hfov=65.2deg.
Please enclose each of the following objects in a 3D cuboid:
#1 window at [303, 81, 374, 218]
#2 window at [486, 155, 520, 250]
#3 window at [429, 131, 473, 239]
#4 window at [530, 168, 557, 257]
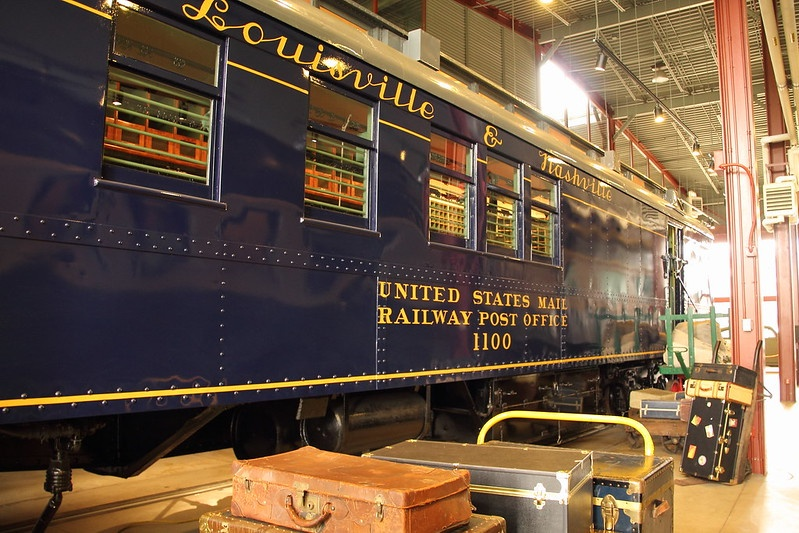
[{"bbox_3d":[-0.561,-0.999,5.406,0.087,1.294,1.078,0,-7,34],"label":"window"},{"bbox_3d":[1.131,-0.693,7.013,0.077,1.161,1.001,-3,-5,27],"label":"window"},{"bbox_3d":[0.495,-0.816,6.395,0.099,1.192,1.025,0,-5,31],"label":"window"},{"bbox_3d":[1.746,-0.628,7.669,0.077,1.226,1.021,-1,-4,33],"label":"window"}]
